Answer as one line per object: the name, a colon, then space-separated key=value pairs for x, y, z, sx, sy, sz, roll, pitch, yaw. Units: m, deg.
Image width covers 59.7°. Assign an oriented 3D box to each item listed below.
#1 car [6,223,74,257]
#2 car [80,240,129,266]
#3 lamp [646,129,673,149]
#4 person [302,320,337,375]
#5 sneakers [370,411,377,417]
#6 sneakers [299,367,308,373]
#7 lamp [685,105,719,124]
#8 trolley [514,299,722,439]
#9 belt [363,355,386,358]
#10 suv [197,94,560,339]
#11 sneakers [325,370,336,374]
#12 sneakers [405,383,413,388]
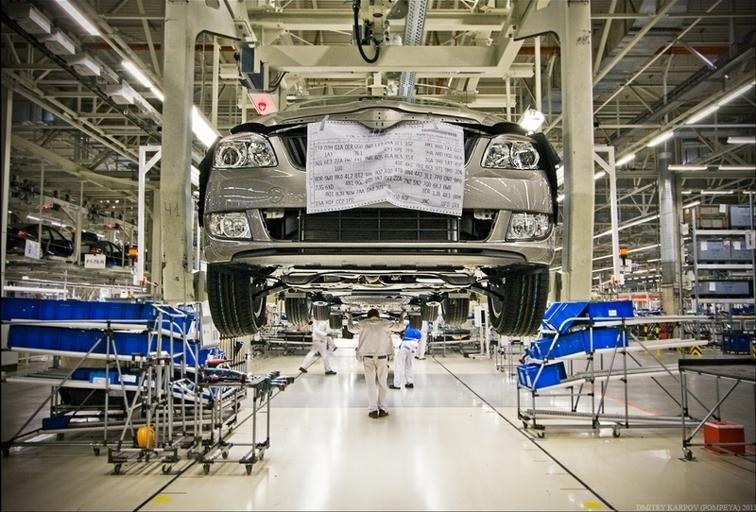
car: x=-10.018 y=-0.475 z=19.367 sx=0.885 sy=0.639 sz=1.915 roll=0 pitch=0 yaw=2
car: x=-9.746 y=-0.059 z=23.434 sx=1.438 sy=1.026 sz=3.403 roll=-1 pitch=3 yaw=-23
lamp: x=8.606 y=-3.621 z=20.197 sx=0.245 sy=0.202 sz=0.943 roll=23 pitch=-8 yaw=-8
person: x=-1.363 y=2.140 z=15.598 sx=0.826 sy=1.415 sz=0.596 roll=-4 pitch=-29 yaw=7
sneakers: x=-0.087 y=2.633 z=10.944 sx=0.141 sy=0.109 sz=0.122 roll=1 pitch=3 yaw=4
sneakers: x=-1.736 y=2.641 z=15.260 sx=0.101 sy=0.132 sz=0.310 roll=7 pitch=3 yaw=22
lamp: x=8.949 y=-3.964 z=18.284 sx=1.119 sy=0.228 sz=0.293 roll=-26 pitch=7 yaw=3
trolley: x=4.042 y=1.885 z=11.274 sx=2.804 sy=2.069 sz=2.018 roll=-2 pitch=-3 yaw=11
belt: x=-0.050 y=1.721 z=11.300 sx=0.368 sy=0.045 sz=0.058 roll=0 pitch=3 yaw=-2
suv: x=-0.036 y=-0.286 z=10.069 sx=2.907 sy=2.111 sz=4.593 roll=0 pitch=-9 yaw=1
sneakers: x=-1.119 y=2.735 z=15.486 sx=0.270 sy=0.116 sz=0.091 roll=-2 pitch=-5 yaw=4
sneakers: x=0.631 y=2.663 z=13.498 sx=0.173 sy=0.118 sz=0.057 roll=2 pitch=-8 yaw=-2
